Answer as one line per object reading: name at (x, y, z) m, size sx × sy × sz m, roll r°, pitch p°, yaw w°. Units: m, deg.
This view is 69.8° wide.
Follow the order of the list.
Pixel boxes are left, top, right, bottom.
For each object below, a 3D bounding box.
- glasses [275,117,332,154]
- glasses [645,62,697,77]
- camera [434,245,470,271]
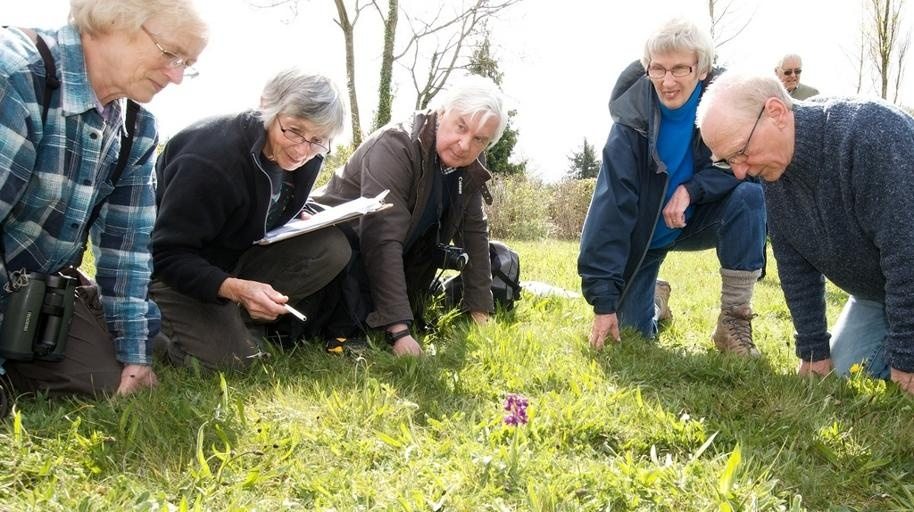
glasses at (-1.026, -0.809, 4.449) m, size 0.362 × 0.199 × 0.155 m, roll 5°, pitch -2°, yaw -43°
glasses at (1.618, -1.399, 4.993) m, size 0.356 × 0.072 × 0.078 m, roll 4°, pitch -1°, yaw 11°
camera at (-0.050, 0.011, 5.290) m, size 0.229 × 0.145 × 0.220 m, roll 8°, pitch 1°, yaw 23°
